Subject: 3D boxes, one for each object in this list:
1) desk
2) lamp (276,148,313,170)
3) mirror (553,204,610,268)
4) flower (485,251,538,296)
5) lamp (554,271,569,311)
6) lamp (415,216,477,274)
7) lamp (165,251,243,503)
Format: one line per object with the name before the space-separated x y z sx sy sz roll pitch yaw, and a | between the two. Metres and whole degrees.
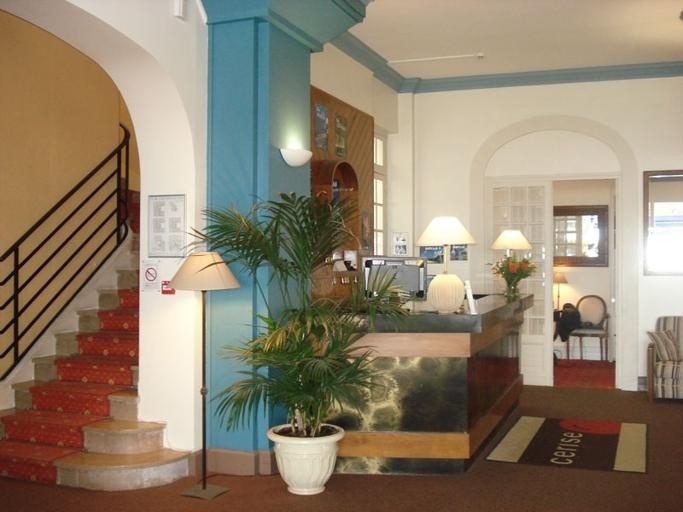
desk | 1.266 1.343 6.479 1.504 1.420 3.762 -6 -6 26
lamp | -0.396 -0.936 5.247 0.213 0.171 0.367 0 0 29
mirror | 4.623 -0.394 10.463 1.134 1.164 0.101 0 2 14
flower | 2.366 0.209 7.489 0.634 0.680 0.641 0 -3 -3
lamp | 4.228 0.647 10.571 0.226 0.723 0.245 0 1 34
lamp | 1.038 -0.169 5.506 0.629 0.658 0.611 -2 2 -38
lamp | -1.135 0.972 4.708 0.539 2.011 0.666 0 0 0
